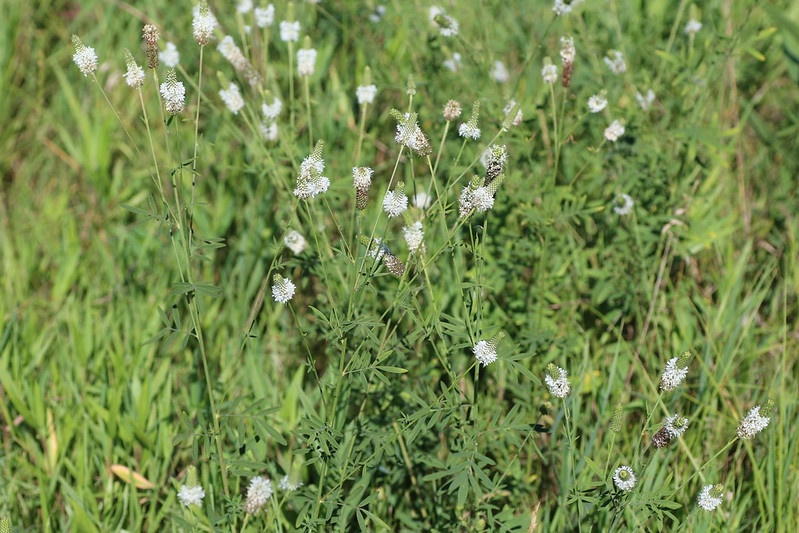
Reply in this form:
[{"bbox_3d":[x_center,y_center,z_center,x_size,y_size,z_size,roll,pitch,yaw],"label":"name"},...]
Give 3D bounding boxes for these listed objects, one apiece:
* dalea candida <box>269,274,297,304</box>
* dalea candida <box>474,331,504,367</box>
[{"bbox_3d":[-0.450,0.083,3.629,0.057,0.079,0.066,-25,51,9],"label":"dalea candida"},{"bbox_3d":[0.330,0.305,3.474,0.073,0.116,0.089,3,47,-32],"label":"dalea candida"}]
